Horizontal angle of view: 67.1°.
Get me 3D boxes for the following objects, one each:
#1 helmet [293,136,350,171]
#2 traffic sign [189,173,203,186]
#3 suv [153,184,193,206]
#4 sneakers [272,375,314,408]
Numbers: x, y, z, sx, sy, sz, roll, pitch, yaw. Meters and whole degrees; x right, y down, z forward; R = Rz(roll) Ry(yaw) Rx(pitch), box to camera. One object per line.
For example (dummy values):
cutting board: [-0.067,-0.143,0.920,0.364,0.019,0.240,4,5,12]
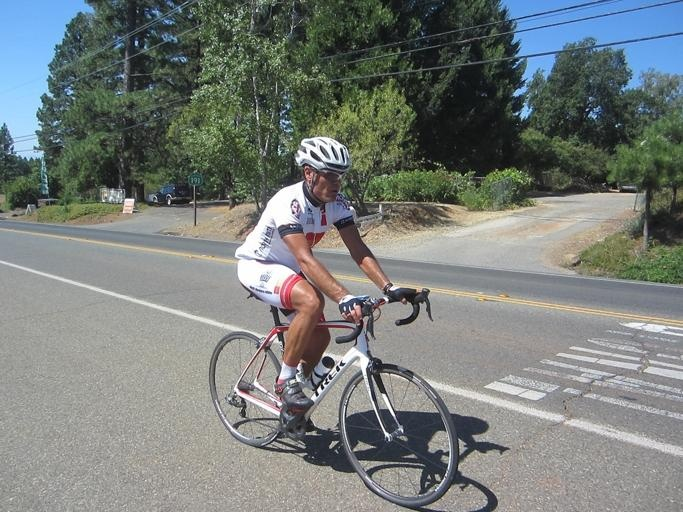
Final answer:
helmet: [-0.250,-0.846,4.221,0.460,0.319,0.379,1,11,29]
traffic sign: [-7.601,-4.014,27.085,0.478,0.598,1.135,-1,9,-3]
suv: [-14.352,-5.245,43.525,2.756,1.261,1.733,9,15,36]
sneakers: [-0.403,1.116,4.208,0.170,0.233,0.464,7,1,-44]
